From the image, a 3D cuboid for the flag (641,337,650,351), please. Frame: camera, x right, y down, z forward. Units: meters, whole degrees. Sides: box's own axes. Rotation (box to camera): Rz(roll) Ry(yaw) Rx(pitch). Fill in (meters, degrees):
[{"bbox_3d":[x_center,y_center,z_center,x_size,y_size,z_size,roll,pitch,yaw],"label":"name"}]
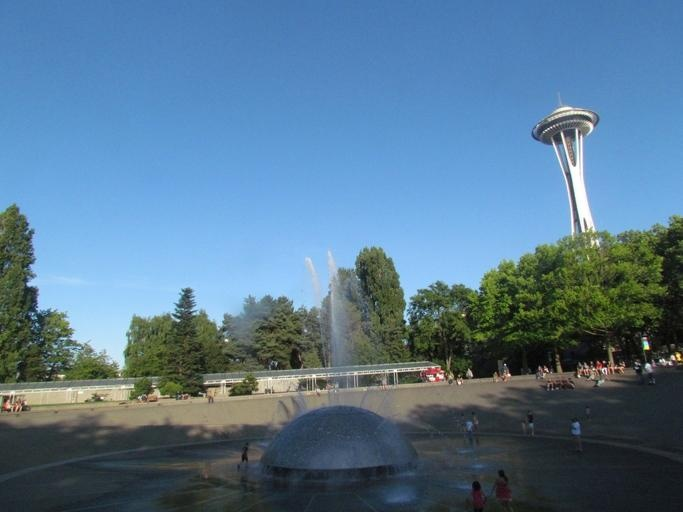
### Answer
[{"bbox_3d":[32.711,9.377,49.453,0.443,1.465,5.314,-13,-17,34],"label":"flag"}]
